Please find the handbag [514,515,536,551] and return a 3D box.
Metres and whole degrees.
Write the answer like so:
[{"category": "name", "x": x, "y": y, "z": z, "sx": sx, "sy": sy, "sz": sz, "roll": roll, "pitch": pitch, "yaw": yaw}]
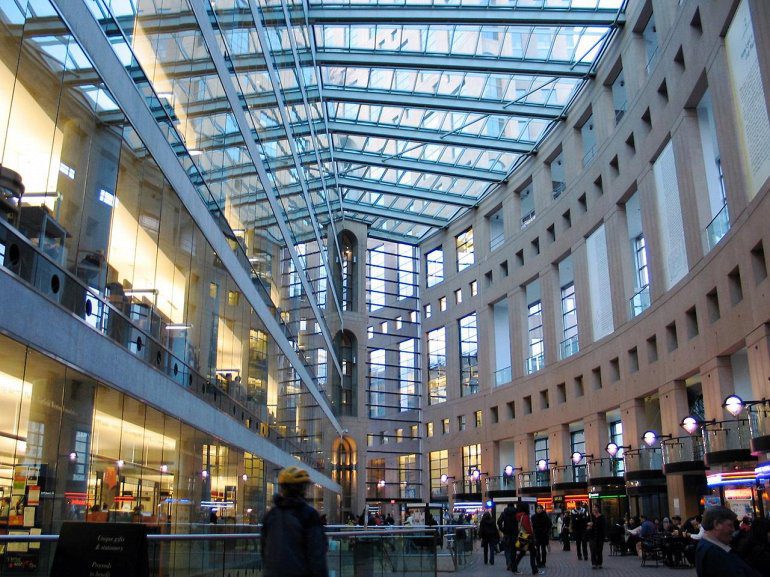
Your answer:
[{"category": "handbag", "x": 4.118, "y": 7.091, "z": 18.270, "sx": 0.442, "sy": 1.002, "sz": 0.647, "roll": 2, "pitch": -8, "yaw": -28}]
